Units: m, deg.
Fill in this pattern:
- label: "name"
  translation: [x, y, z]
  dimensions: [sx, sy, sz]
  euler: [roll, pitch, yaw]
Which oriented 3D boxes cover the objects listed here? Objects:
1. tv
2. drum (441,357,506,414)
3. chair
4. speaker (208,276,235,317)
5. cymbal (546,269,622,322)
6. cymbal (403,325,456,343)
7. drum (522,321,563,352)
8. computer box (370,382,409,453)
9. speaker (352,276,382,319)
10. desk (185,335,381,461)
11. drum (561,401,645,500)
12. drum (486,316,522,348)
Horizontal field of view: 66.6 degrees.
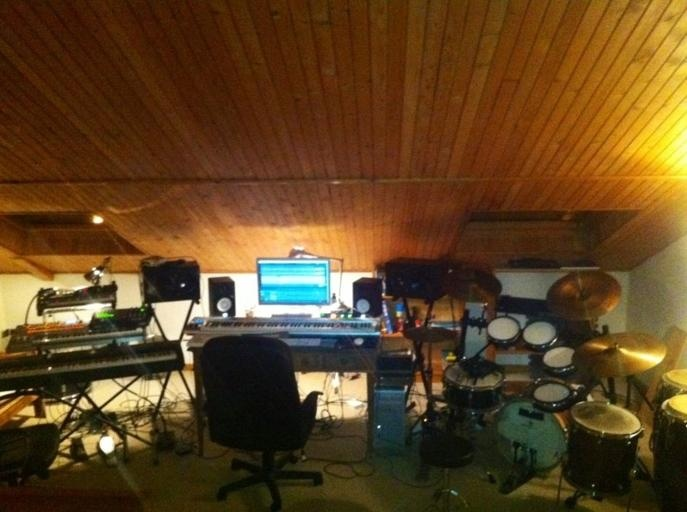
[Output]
- label: "tv"
  translation: [-0.460, 0.217, 4.845]
  dimensions: [0.547, 0.304, 0.050]
  euler: [0, 5, 2]
- label: "drum"
  translation: [0.991, 0.983, 4.032]
  dimensions: [0.411, 0.243, 0.386]
  euler: [-2, 11, 0]
- label: "chair"
  translation: [-0.565, 1.152, 3.613]
  dimensions: [0.768, 1.252, 0.764]
  euler: [0, -4, 1]
- label: "speaker"
  translation: [-1.089, 0.357, 4.621]
  dimensions: [0.226, 0.341, 0.174]
  euler: [1, -4, -14]
- label: "cymbal"
  translation: [2.024, 0.327, 4.430]
  dimensions: [0.546, 0.427, 0.219]
  euler: [-1, -4, 8]
- label: "cymbal"
  translation: [0.683, 0.623, 4.252]
  dimensions: [0.284, 0.039, 0.256]
  euler: [-3, 14, -13]
- label: "drum"
  translation: [1.679, 0.679, 4.487]
  dimensions: [0.273, 0.235, 0.314]
  euler: [-2, -4, 18]
- label: "computer box"
  translation: [0.367, 1.308, 4.286]
  dimensions: [0.276, 0.532, 0.221]
  euler: [0, -4, 2]
- label: "speaker"
  translation: [0.211, 0.359, 4.591]
  dimensions: [0.356, 0.419, 0.322]
  euler: [1, 4, 6]
- label: "desk"
  translation: [-0.455, 1.062, 3.884]
  dimensions: [1.307, 0.677, 0.420]
  euler: [-1, -8, 2]
- label: "drum"
  translation: [1.773, 1.354, 3.602]
  dimensions: [0.582, 0.649, 0.493]
  euler: [3, 32, 11]
- label: "drum"
  translation: [1.387, 0.649, 4.523]
  dimensions: [0.283, 0.250, 0.257]
  euler: [0, -4, -4]
